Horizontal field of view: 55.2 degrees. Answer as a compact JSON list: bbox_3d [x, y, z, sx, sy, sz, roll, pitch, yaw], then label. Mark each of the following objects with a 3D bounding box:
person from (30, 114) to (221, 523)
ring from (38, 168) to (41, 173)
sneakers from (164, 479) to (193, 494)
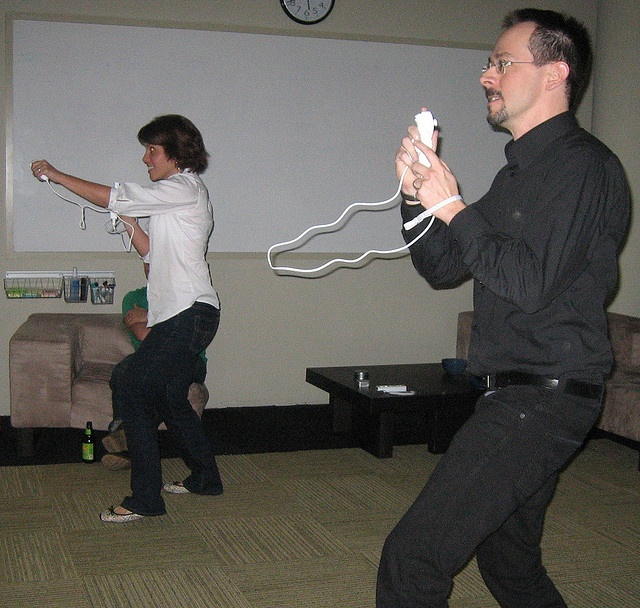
[{"bbox_3d":[-0.804,0.048,2.800,0.704,1.794,0.749,4,6,16],"label":"person"},{"bbox_3d":[-1.196,-0.571,2.609,0.010,0.018,0.009,1,2,0],"label":"ring"},{"bbox_3d":[-0.690,0.889,2.991,0.108,0.038,0.061,8,0,2],"label":"sneakers"}]
